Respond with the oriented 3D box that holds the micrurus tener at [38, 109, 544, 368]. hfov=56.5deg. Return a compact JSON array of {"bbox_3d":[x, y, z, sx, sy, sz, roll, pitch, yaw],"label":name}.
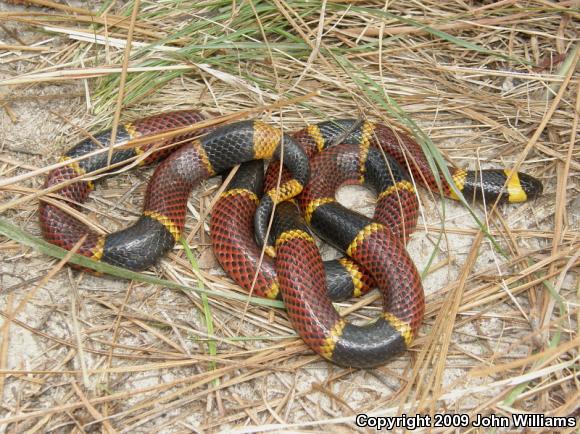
[{"bbox_3d":[-0.068,-0.496,5.452,4.605,1.813,2.516,-21,50,-20],"label":"micrurus tener"}]
